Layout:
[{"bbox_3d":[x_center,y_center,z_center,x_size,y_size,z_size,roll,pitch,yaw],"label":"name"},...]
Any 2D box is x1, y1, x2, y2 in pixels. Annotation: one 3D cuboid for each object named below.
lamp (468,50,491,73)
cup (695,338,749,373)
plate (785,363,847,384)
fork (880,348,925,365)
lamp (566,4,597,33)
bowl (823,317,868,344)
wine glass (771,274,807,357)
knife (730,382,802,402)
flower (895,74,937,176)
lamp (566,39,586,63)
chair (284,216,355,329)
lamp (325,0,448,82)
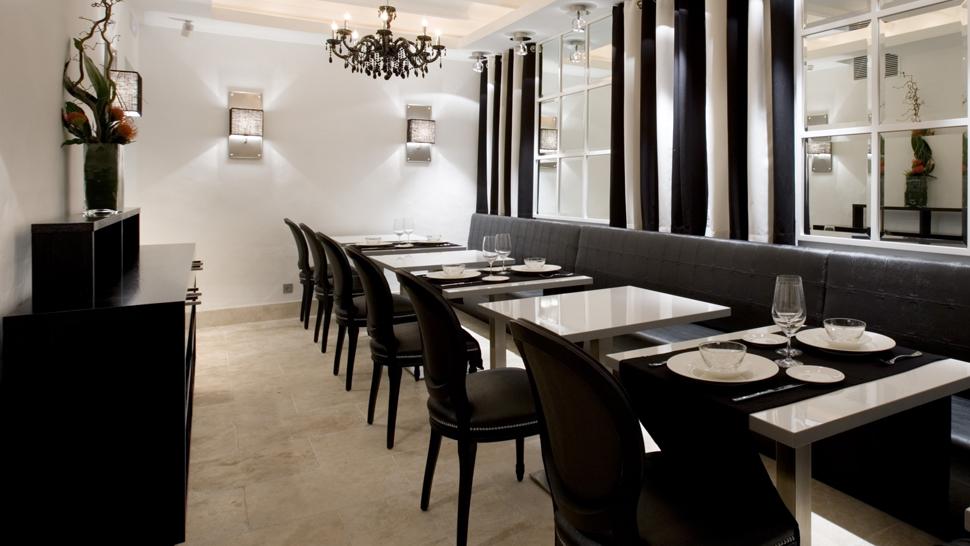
[{"bbox_3d":[-0.065,-2.570,8.058,0.338,0.313,0.336,1,4,5],"label":"lamp"},{"bbox_3d":[1.220,0.421,3.302,0.185,0.104,0.182,-1,0,0],"label":"cup"},{"bbox_3d":[1.708,0.523,3.354,0.289,0.072,0.134,-2,8,8],"label":"plate"},{"bbox_3d":[2.223,0.445,3.473,0.332,0.045,0.057,-5,6,-30],"label":"fork"},{"bbox_3d":[0.973,-2.602,6.651,0.248,0.234,0.248,1,7,13],"label":"lamp"},{"bbox_3d":[1.967,0.306,3.559,0.182,0.136,0.182,-3,8,0],"label":"bowl"},{"bbox_3d":[1.657,0.230,3.540,0.148,0.458,0.308,0,8,24],"label":"wine glass"},{"bbox_3d":[1.398,0.597,3.251,0.396,0.015,0.043,-7,8,-16],"label":"knife"},{"bbox_3d":[3.122,-1.089,4.696,0.104,0.750,0.209,-5,8,-14],"label":"flower"},{"bbox_3d":[1.017,-2.490,7.277,0.240,0.254,0.236,0,5,3],"label":"lamp"},{"bbox_3d":[-1.714,-0.037,6.974,0.763,1.117,0.639,-1,8,-9],"label":"chair"},{"bbox_3d":[-1.070,-2.476,6.781,1.057,0.716,1.132,12,17,33],"label":"lamp"}]
